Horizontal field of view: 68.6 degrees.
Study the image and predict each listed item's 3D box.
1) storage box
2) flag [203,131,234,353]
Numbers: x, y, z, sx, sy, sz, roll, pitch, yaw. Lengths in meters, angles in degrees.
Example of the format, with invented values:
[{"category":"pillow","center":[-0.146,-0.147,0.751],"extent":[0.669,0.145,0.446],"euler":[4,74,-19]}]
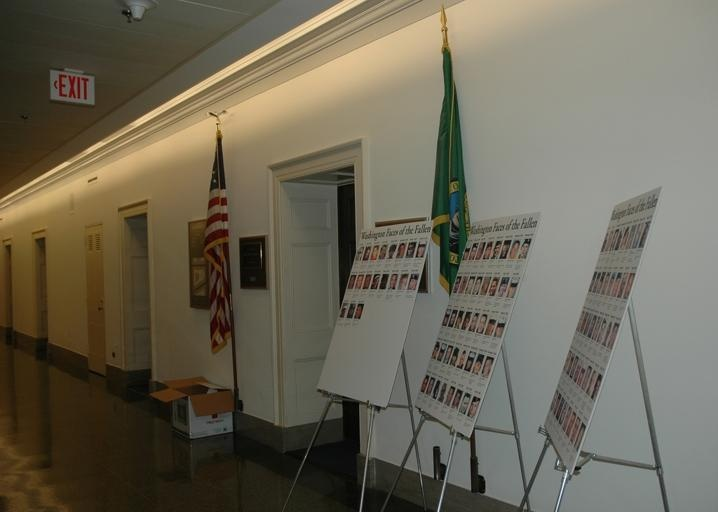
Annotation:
[{"category":"storage box","center":[-2.140,1.928,6.694],"extent":[0.858,0.617,1.067],"euler":[2,-5,-45]},{"category":"flag","center":[-1.739,-0.184,6.471],"extent":[0.277,2.783,0.262],"euler":[-2,0,-17]}]
